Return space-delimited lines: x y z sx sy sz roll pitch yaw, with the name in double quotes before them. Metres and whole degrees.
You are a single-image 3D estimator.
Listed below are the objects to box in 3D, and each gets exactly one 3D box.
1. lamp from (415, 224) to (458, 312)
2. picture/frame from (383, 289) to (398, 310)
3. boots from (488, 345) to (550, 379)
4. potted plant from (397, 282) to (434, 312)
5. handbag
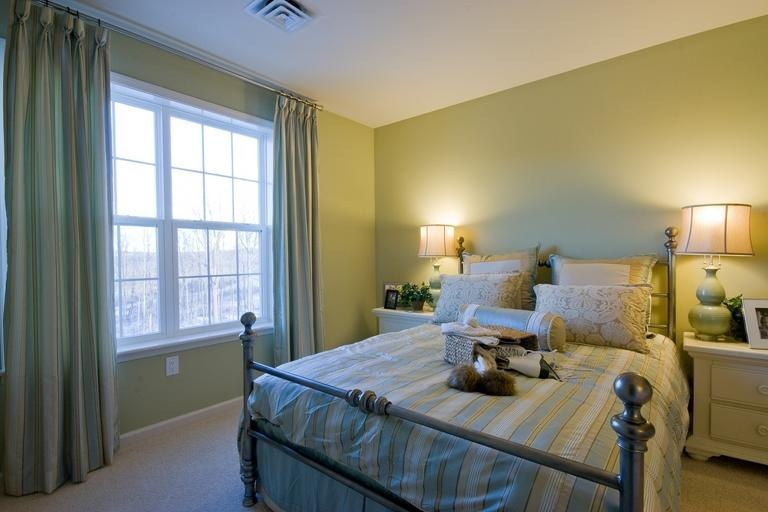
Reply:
"lamp" 0.546 -0.009 5.267 0.413 0.609 0.426 0 0 -27
"picture/frame" 0.077 0.459 5.498 0.200 0.248 0.017 0 -9 34
"boots" 0.892 0.685 3.376 0.293 0.154 0.165 5 -2 -13
"potted plant" 0.314 0.420 5.314 0.274 0.202 0.264 1 -5 -6
"handbag" 0.737 0.611 3.678 0.636 0.215 0.663 -6 -2 -42
